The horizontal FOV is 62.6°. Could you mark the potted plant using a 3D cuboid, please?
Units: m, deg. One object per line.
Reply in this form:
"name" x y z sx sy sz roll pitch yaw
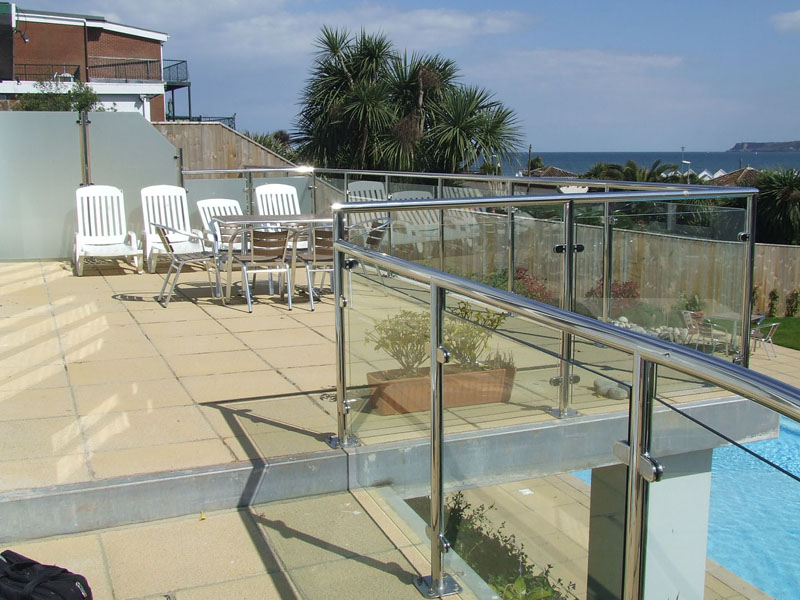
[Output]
"potted plant" 0.193 0.208 2.450 0.622 0.399 0.270 -1 -6 -16
